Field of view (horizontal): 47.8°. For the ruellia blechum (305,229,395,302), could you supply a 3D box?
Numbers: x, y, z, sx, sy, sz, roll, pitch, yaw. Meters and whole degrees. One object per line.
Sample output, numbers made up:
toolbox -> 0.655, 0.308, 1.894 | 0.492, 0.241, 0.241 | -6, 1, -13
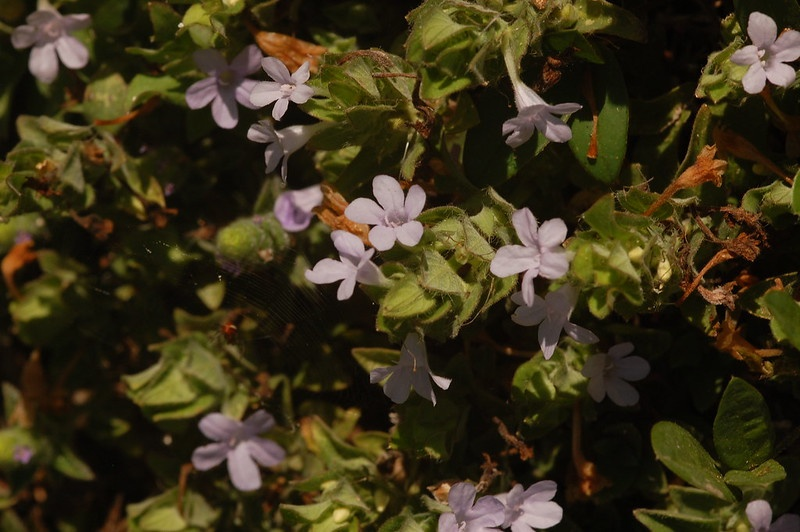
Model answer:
ruellia blechum -> -0.173, 0.004, 3.022 | 0.218, 0.249, 0.079 | 23, 6, 19

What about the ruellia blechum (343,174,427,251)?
ruellia blechum -> -0.033, -0.153, 3.033 | 0.260, 0.209, 0.215 | 38, 55, 25

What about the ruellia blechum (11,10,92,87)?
ruellia blechum -> -1.314, -0.825, 3.459 | 0.281, 0.304, 0.242 | -5, 48, -10

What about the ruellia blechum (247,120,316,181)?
ruellia blechum -> -0.438, -0.468, 3.226 | 0.249, 0.282, 0.096 | 20, 17, 33

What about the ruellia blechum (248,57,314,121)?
ruellia blechum -> -0.416, -0.612, 3.137 | 0.202, 0.235, 0.076 | -20, -5, 26

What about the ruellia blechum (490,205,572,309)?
ruellia blechum -> 0.430, -0.003, 2.972 | 0.241, 0.276, 0.236 | 21, 49, 14
